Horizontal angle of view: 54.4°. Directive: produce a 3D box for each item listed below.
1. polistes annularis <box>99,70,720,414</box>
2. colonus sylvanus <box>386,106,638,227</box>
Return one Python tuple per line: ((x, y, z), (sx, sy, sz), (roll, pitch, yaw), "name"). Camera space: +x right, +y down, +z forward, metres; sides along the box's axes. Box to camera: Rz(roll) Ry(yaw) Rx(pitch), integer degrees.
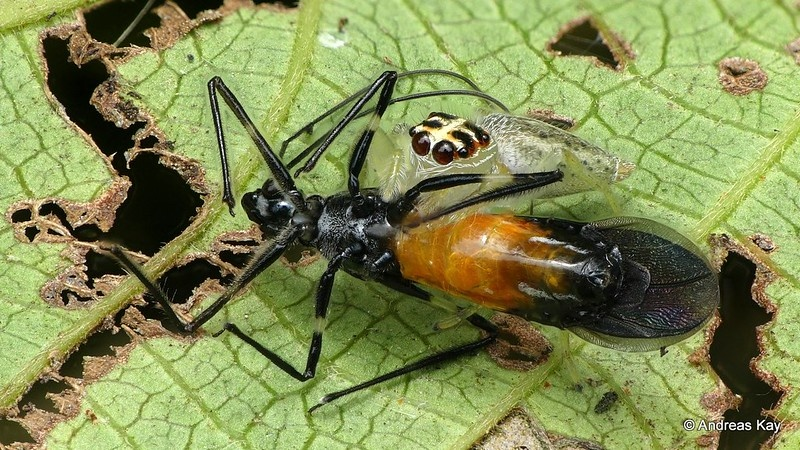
((0.212, 0.038, 5.327), (3.510, 1.003, 1.661), (7, 87, 11), "polistes annularis")
((0.648, -0.390, 4.772), (1.116, 0.297, 0.708), (1, 58, -1), "colonus sylvanus")
